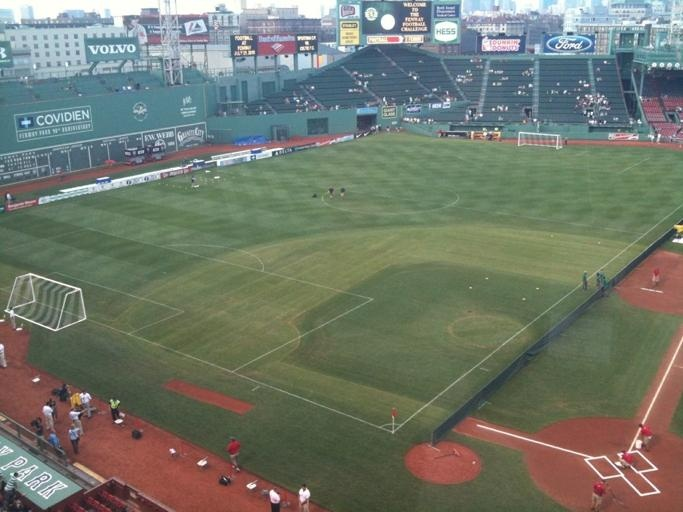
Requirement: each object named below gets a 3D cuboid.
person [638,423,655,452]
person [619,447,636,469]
[{"bbox_3d":[17.582,10.082,36.680,0.819,1.230,1.829,8,21,23],"label":"person"},{"bbox_3d":[15.743,11.073,35.213,0.882,0.486,0.911,-1,59,-19],"label":"person"}]
